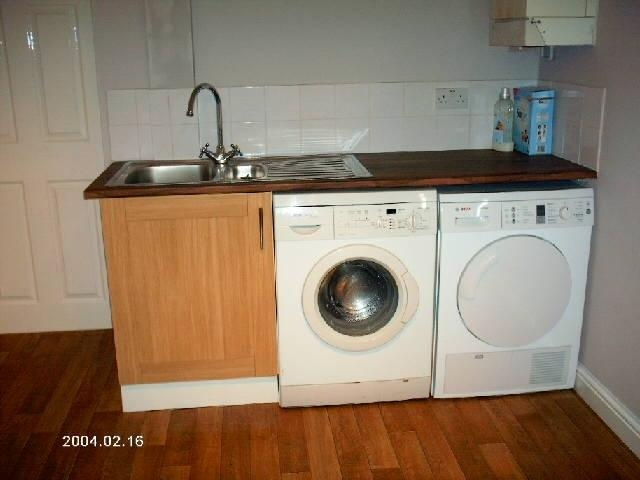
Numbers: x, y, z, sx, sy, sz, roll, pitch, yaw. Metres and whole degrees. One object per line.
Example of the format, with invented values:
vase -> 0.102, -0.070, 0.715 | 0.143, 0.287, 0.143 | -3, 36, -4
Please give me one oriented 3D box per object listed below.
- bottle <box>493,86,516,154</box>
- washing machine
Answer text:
bottle -> 1.126, -0.733, 3.059 | 0.122, 0.373, 0.121 | -2, 15, 0
washing machine -> 0.538, 0.240, 2.560 | 1.082, 0.822, 0.460 | -1, 14, -3
